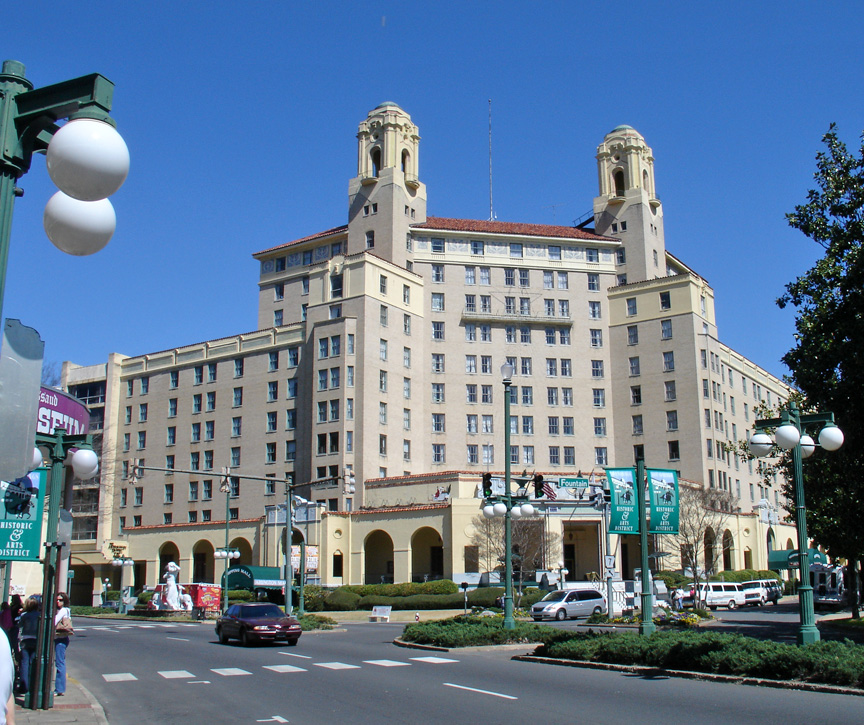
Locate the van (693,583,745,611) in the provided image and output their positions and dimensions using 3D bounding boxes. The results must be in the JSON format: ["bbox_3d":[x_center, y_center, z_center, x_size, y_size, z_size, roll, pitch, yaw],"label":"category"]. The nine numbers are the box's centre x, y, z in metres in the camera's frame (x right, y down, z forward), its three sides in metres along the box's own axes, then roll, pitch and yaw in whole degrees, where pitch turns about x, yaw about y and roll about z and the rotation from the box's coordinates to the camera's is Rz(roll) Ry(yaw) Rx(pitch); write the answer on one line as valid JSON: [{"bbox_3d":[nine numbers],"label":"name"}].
[{"bbox_3d":[17.867,14.433,57.421,1.712,1.723,6.054,-11,-19,29],"label":"van"}]

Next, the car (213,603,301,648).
[{"bbox_3d":[-5.815,8.735,31.106,1.645,1.398,3.197,9,-20,-33],"label":"car"}]

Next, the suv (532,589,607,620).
[{"bbox_3d":[6.721,11.927,45.843,3.224,1.141,1.541,9,-17,-33],"label":"suv"}]
